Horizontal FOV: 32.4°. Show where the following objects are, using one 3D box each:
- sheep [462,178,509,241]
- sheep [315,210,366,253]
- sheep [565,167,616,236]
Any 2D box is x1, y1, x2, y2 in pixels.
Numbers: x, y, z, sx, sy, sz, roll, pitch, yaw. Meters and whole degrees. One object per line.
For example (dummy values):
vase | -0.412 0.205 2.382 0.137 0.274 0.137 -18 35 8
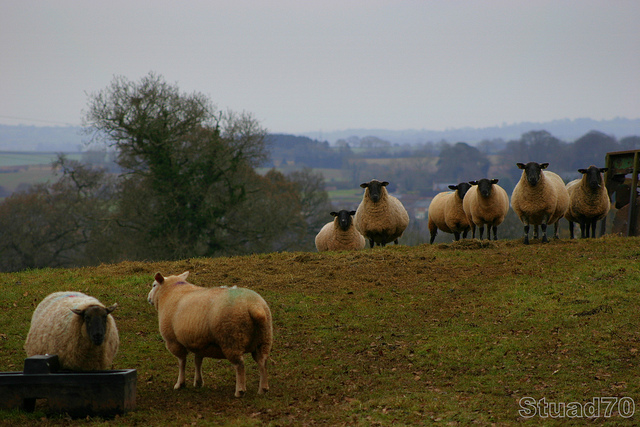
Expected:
sheep | 9.238 -0.239 61.759 2.084 3.403 3.340 0 1 -3
sheep | 1.144 1.563 64.889 2.644 3.291 5.252 2 -6 -7
sheep | 15.159 -0.406 63.062 2.686 3.949 5.988 3 -6 6
